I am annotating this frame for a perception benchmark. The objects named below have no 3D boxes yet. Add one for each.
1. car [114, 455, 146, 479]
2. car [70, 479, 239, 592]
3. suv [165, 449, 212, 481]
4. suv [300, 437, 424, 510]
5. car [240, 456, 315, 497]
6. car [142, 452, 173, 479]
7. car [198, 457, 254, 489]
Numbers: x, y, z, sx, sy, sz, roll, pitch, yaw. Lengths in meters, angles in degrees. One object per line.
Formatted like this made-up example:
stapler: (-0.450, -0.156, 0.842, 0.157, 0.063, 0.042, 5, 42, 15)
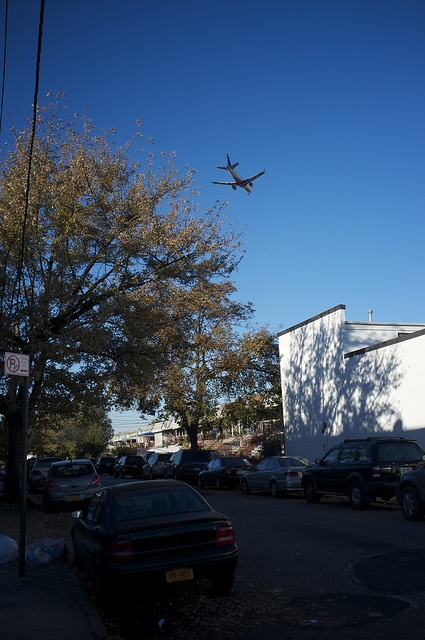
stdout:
car: (-5.375, 9.601, 35.623, 1.351, 1.465, 3.009, 5, -11, -28)
car: (-0.627, 2.216, 5.562, 1.260, 0.986, 1.779, 4, -11, -25)
suv: (-1.300, 7.015, 26.459, 1.141, 0.961, 2.383, 3, -8, -17)
suv: (3.933, 4.147, 14.882, 1.634, 1.552, 3.408, 3, -10, -21)
car: (2.265, 5.467, 19.046, 1.172, 0.878, 2.629, 3, -10, -19)
car: (-3.216, 8.384, 31.550, 1.156, 0.959, 2.571, 3, -11, -16)
car: (0.362, 6.511, 23.420, 1.100, 0.865, 2.601, 3, -10, -20)
